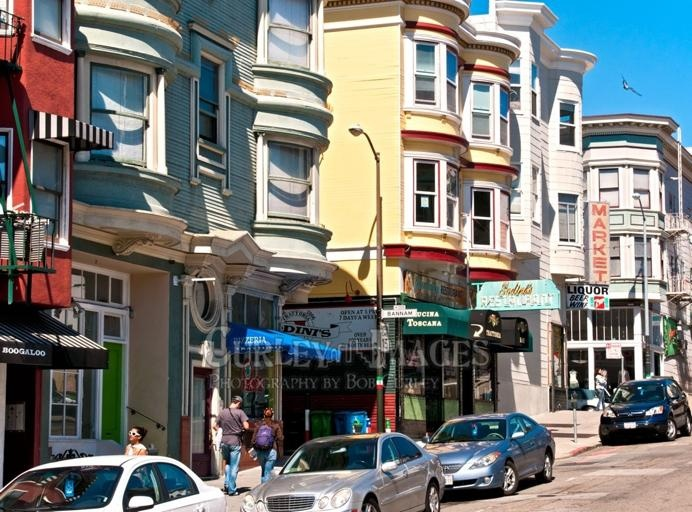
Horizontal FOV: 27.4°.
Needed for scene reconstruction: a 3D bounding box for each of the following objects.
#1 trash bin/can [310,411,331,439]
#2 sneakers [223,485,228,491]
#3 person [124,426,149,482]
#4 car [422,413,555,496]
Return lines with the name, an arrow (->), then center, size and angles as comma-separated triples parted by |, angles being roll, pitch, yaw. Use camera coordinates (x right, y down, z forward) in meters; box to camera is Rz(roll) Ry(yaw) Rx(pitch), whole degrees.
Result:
trash bin/can -> -0.825, 5.241, 44.526 | 0.743, 0.982, 0.720 | -2, -5, 20
sneakers -> -2.888, 5.477, 33.628 | 0.105, 0.121, 0.134 | 0, -13, -1
person -> -4.292, 4.011, 28.802 | 0.834, 0.935, 0.539 | -2, -28, 3
car -> 3.342, 4.791, 34.323 | 2.298, 2.027, 4.132 | -12, -16, 36
